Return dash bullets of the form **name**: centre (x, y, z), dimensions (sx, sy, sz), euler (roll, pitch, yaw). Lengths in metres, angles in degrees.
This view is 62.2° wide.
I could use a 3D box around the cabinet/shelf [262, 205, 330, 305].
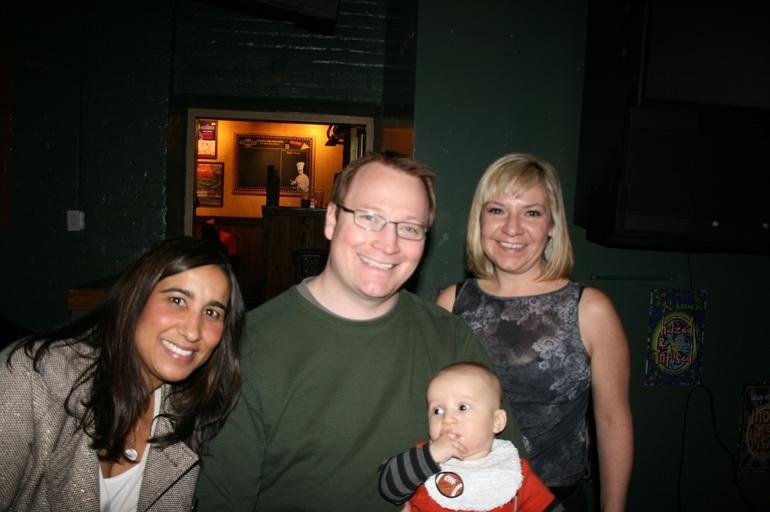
- **cabinet/shelf**: centre (-1.220, -0.029, 7.328), dimensions (0.751, 1.022, 0.753), euler (6, -7, 16)
